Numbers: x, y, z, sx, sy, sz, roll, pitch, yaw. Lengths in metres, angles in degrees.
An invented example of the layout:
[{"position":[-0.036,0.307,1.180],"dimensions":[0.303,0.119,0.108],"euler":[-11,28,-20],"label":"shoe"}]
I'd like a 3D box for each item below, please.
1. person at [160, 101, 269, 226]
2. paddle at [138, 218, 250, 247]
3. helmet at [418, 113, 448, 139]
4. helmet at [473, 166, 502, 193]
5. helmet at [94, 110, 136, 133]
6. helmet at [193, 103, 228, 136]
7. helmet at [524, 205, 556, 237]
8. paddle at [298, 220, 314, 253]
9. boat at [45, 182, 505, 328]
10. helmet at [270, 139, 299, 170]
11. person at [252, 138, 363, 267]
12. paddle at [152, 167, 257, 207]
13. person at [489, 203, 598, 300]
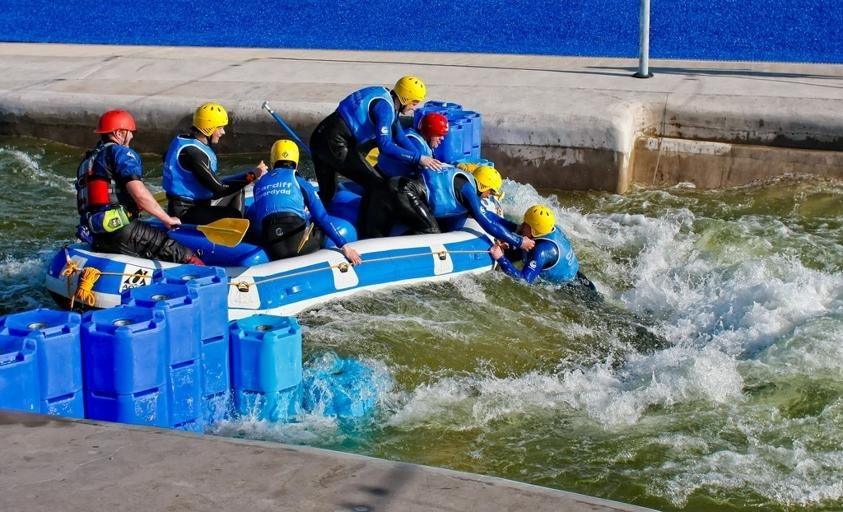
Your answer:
[{"position":[-2.592,-1.189,12.021],"dimensions":[1.312,1.901,0.922],"euler":[-10,51,-26],"label":"person"},{"position":[-2.560,-0.287,10.625],"dimensions":[1.317,0.332,0.091],"euler":[4,18,24],"label":"paddle"},{"position":[0.150,-1.614,11.558],"dimensions":[0.346,0.259,0.242],"euler":[13,33,-6],"label":"helmet"},{"position":[0.817,-0.947,11.500],"dimensions":[0.354,0.255,0.262],"euler":[21,17,-17],"label":"helmet"},{"position":[-3.258,-1.446,10.213],"dimensions":[0.315,0.213,0.439],"euler":[8,3,42],"label":"helmet"},{"position":[-2.388,-1.580,10.835],"dimensions":[0.394,0.316,0.280],"euler":[8,23,-1],"label":"helmet"},{"position":[1.443,-0.336,11.352],"dimensions":[0.435,0.334,0.327],"euler":[2,-20,5],"label":"helmet"},{"position":[-1.295,-0.204,10.685],"dimensions":[0.125,0.066,0.361],"euler":[27,38,-13],"label":"paddle"},{"position":[-1.555,0.137,11.976],"dimensions":[5.940,1.052,2.984],"euler":[-11,7,-41],"label":"boat"},{"position":[-1.528,-1.160,10.735],"dimensions":[0.310,0.338,0.391],"euler":[2,2,-6],"label":"helmet"},{"position":[-1.474,-0.611,10.946],"dimensions":[1.651,1.405,1.106],"euler":[7,13,35],"label":"person"},{"position":[-2.452,-0.831,11.087],"dimensions":[1.189,0.449,0.818],"euler":[6,-4,-8],"label":"paddle"},{"position":[1.464,-0.011,11.554],"dimensions":[0.814,0.493,1.112],"euler":[7,-22,18],"label":"person"}]
